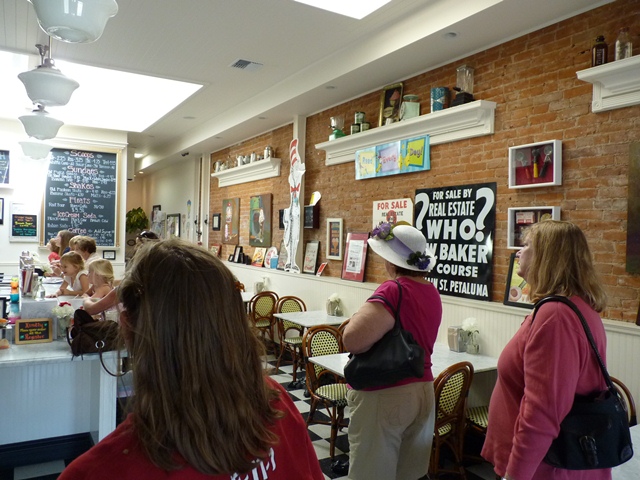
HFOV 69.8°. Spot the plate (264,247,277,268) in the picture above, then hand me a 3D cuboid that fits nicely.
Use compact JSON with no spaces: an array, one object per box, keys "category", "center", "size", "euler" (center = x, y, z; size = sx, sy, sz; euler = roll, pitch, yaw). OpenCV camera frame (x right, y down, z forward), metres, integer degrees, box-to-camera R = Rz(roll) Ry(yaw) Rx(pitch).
[{"category":"plate","center":[-0.795,0.308,7.509],"size":[0.048,0.318,0.236],"euler":[11,-11,-32]}]

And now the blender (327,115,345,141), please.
[{"category":"blender","center":[0.224,-1.451,6.025],"size":[0.188,0.411,0.439],"euler":[0,-3,1]}]

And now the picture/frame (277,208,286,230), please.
[{"category":"picture/frame","center":[-0.618,-0.321,7.347],"size":[0.054,0.394,0.330],"euler":[1,-2,-18]}]

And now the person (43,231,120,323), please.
[{"category":"person","center":[-2.594,0.362,4.847],"size":[0.419,0.274,0.742],"euler":[13,28,-20]}]

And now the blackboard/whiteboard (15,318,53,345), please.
[{"category":"blackboard/whiteboard","center":[-2.071,0.664,3.287],"size":[0.173,0.159,0.018],"euler":[0,-2,-29]}]

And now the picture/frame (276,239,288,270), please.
[{"category":"picture/frame","center":[-0.604,0.260,7.237],"size":[0.053,0.551,0.411],"euler":[4,-8,-26]}]

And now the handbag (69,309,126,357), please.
[{"category":"handbag","center":[-1.552,0.614,3.084],"size":[0.311,0.320,0.224],"euler":[-2,5,-35]}]

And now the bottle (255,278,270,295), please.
[{"category":"bottle","center":[-0.900,0.731,7.218],"size":[0.276,0.286,0.153],"euler":[0,4,-43]}]

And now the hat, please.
[{"category":"hat","center":[0.506,0.005,2.618],"size":[0.416,0.170,0.384],"euler":[20,19,12]}]

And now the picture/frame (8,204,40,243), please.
[{"category":"picture/frame","center":[-5.244,-0.279,8.059],"size":[0.659,0.959,0.072],"euler":[0,1,-40]}]

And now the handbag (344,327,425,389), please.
[{"category":"handbag","center":[0.291,0.529,2.354],"size":[0.371,0.404,0.143],"euler":[-8,14,-8]}]

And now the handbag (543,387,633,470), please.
[{"category":"handbag","center":[1.050,0.753,1.820],"size":[0.303,0.342,0.187],"euler":[-3,-10,19]}]

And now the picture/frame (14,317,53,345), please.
[{"category":"picture/frame","center":[-2.070,0.662,3.291],"size":[0.179,0.164,0.017],"euler":[0,-2,-32]}]

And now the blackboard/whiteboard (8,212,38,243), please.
[{"category":"blackboard/whiteboard","center":[-5.254,-0.214,8.050],"size":[0.481,0.591,0.059],"euler":[-4,5,-42]}]

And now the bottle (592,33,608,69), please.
[{"category":"bottle","center":[2.095,-1.389,3.416],"size":[0.197,0.259,0.083],"euler":[2,-4,-40]}]

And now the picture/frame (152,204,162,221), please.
[{"category":"picture/frame","center":[-4.524,-0.739,12.683],"size":[0.049,0.466,0.460],"euler":[3,-4,-30]}]

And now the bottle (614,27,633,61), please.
[{"category":"bottle","center":[2.181,-1.386,3.291],"size":[0.113,0.254,0.177],"euler":[-2,-4,35]}]

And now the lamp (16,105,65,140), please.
[{"category":"lamp","center":[-2.817,-1.260,4.667],"size":[0.410,0.412,0.431],"euler":[4,17,-29]}]

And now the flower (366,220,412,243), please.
[{"category":"flower","center":[0.377,-0.053,2.676],"size":[0.144,0.070,0.164],"euler":[-28,3,4]}]

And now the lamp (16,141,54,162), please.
[{"category":"lamp","center":[-3.651,-1.175,5.894],"size":[0.320,0.250,0.352],"euler":[1,-3,-17]}]

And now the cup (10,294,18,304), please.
[{"category":"cup","center":[-2.427,0.474,3.646],"size":[0.062,0.074,0.063],"euler":[-1,0,0]}]

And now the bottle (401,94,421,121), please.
[{"category":"bottle","center":[0.963,-1.405,4.902],"size":[0.229,0.291,0.220],"euler":[0,-3,0]}]

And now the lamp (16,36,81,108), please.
[{"category":"lamp","center":[-2.106,-1.373,3.558],"size":[0.415,0.702,0.389],"euler":[0,-3,-13]}]

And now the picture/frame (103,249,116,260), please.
[{"category":"picture/frame","center":[-3.876,0.278,8.388],"size":[0.215,0.194,0.115],"euler":[2,-7,-42]}]

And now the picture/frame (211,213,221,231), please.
[{"category":"picture/frame","center":[-2.172,-0.362,9.597],"size":[0.043,0.425,0.351],"euler":[2,-4,-42]}]
